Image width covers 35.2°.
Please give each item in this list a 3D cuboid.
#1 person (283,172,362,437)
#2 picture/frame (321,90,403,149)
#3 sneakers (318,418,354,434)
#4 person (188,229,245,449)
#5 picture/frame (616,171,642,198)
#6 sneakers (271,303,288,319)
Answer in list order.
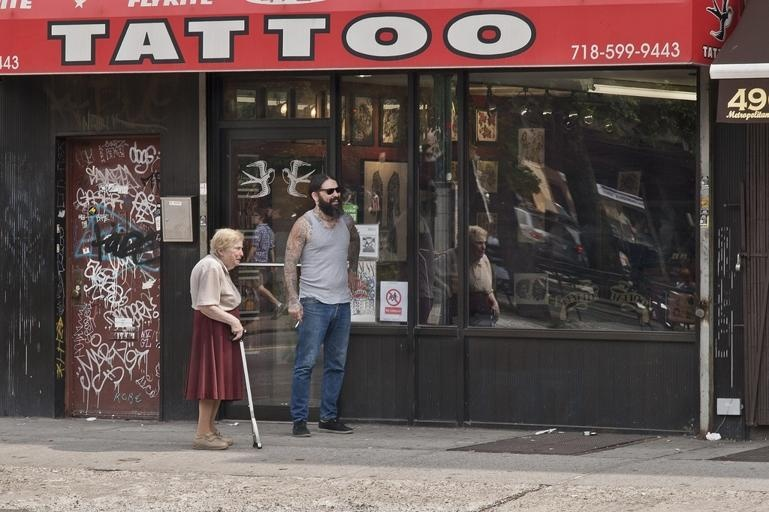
[{"bbox_3d":[-0.686,0.549,13.318,0.807,2.825,0.653,0,-5,-4],"label":"person"},{"bbox_3d":[-0.219,-1.542,13.787,0.649,0.554,0.053,2,3,12],"label":"picture/frame"},{"bbox_3d":[-0.548,1.888,13.492,0.405,0.174,0.147,1,-2,6],"label":"sneakers"},{"bbox_3d":[-1.764,0.856,12.610,0.574,2.301,0.462,0,-5,-8],"label":"person"},{"bbox_3d":[2.714,-0.784,13.352,0.238,0.323,0.035,10,-1,4],"label":"picture/frame"},{"bbox_3d":[-1.228,0.648,14.036,0.105,0.091,0.268,24,-50,-17],"label":"sneakers"}]
